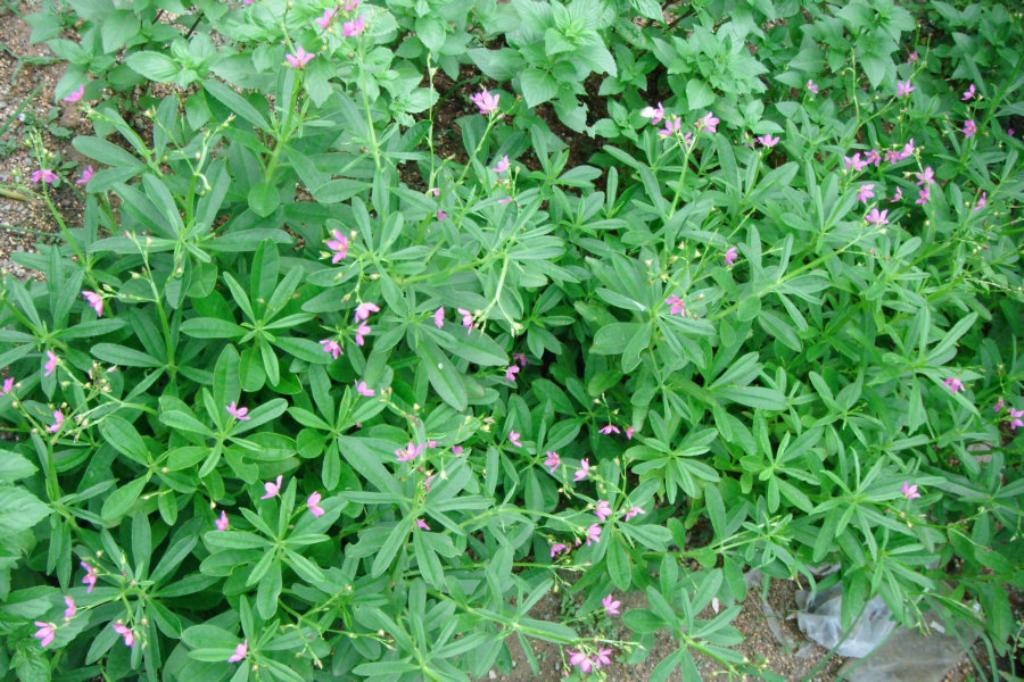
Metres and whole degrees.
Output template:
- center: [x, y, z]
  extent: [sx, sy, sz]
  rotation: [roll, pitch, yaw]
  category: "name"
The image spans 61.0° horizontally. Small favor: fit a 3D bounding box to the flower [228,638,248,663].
- center: [-1.280, 1.463, 4.082]
  extent: [0.045, 0.098, 0.086]
  rotation: [4, 29, -35]
  category: "flower"
